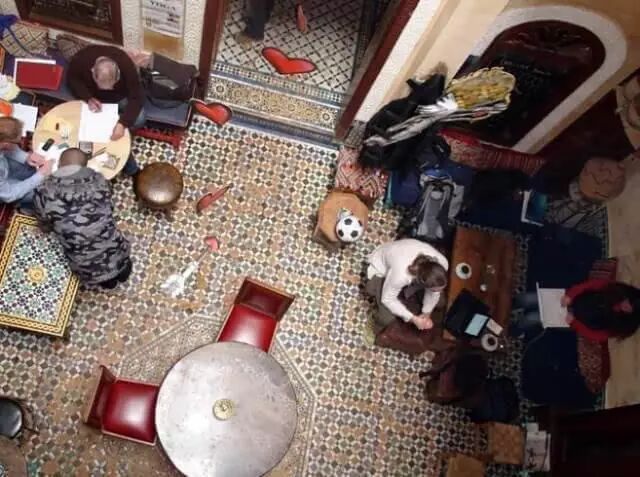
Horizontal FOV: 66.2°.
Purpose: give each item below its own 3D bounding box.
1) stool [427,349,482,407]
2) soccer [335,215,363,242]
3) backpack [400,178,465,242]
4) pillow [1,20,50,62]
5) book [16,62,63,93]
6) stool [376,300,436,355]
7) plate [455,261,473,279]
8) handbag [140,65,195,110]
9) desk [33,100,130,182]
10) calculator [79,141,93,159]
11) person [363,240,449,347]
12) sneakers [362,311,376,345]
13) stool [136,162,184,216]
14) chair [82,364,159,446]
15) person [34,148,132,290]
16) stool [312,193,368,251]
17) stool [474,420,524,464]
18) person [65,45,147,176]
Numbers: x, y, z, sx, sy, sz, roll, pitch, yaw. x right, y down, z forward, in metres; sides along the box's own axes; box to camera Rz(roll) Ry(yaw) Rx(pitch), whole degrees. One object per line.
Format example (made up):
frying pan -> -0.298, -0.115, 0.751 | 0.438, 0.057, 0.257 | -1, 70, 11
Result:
stool -> 1.771, 1.648, 6.453 | 0.582, 0.796, 0.770 | 0, 61, 33
soccer -> 0.376, -0.107, 6.234 | 0.304, 0.315, 0.315 | -41, 93, 12
backpack -> 1.516, -0.338, 6.408 | 0.724, 0.397, 0.938 | 21, 87, 3
pillow -> -3.727, -2.466, 6.200 | 0.494, 0.173, 0.477 | 26, 99, -19
book -> -3.472, -1.968, 6.020 | 0.556, 0.133, 0.396 | 5, 69, -13
stool -> 1.100, 1.127, 6.535 | 0.891, 0.886, 0.618 | -6, 66, 23
plate -> 1.864, 0.451, 6.409 | 0.195, 0.048, 0.201 | -11, 84, -9
handbag -> -1.979, -1.864, 6.255 | 0.673, 0.256, 0.428 | 6, 68, -13
desk -> -2.853, -1.076, 5.959 | 0.955, 0.571, 0.961 | 46, 72, -12
calculator -> -2.694, -1.001, 5.621 | 0.165, 0.060, 0.230 | 5, 75, -11
person -> 1.084, 0.748, 6.122 | 0.676, 1.326, 0.954 | -14, 78, -23
sneakers -> 0.637, 1.202, 6.418 | 0.147, 0.172, 0.420 | 4, 77, -8
stool -> -1.969, -0.628, 6.207 | 0.554, 0.608, 0.581 | 34, 76, -15
chair -> -2.125, 1.798, 5.143 | 0.651, 0.885, 0.631 | 17, 76, -16
person -> -2.496, -0.130, 5.243 | 0.692, 0.896, 0.969 | -30, 79, -22
stool -> 0.260, -0.247, 6.418 | 0.701, 0.826, 0.717 | -14, 92, -12
stool -> 2.251, 2.587, 6.185 | 0.555, 0.573, 0.442 | -2, 61, 26
person -> -2.643, -1.659, 6.100 | 0.781, 1.657, 1.102 | -25, 77, -30
